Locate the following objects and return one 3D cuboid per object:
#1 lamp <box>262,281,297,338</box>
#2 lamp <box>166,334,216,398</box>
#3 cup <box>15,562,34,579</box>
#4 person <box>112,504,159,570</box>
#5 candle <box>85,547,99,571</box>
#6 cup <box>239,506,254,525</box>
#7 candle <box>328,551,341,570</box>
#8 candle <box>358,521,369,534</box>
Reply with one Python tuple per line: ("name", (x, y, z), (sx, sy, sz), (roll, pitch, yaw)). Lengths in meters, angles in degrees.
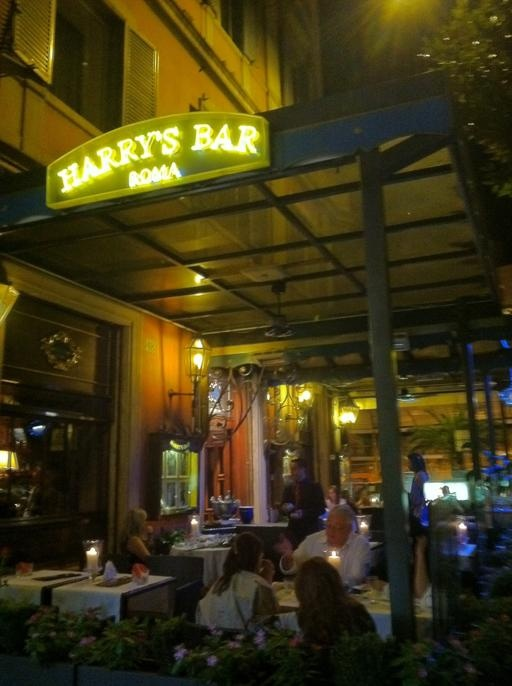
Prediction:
("lamp", (0.290, -0.438, 7.230), (0.399, 0.724, 0.477), (-8, -16, 31))
("lamp", (-0.939, 0.372, 8.070), (0.550, 0.783, 0.782), (1, -13, -9))
("cup", (-1.757, 1.708, 4.428), (0.122, 0.111, 0.106), (4, -3, -38))
("person", (-1.234, 1.957, 5.841), (0.384, 0.559, 1.818), (2, -12, -12))
("candle", (-1.184, 1.554, 4.195), (0.082, 0.164, 0.128), (4, -14, -18))
("cup", (-0.139, 2.314, 7.808), (0.282, 0.244, 0.273), (0, -3, 0))
("candle", (0.472, 1.335, 3.584), (0.065, 0.120, 0.226), (-3, -13, 11))
("candle", (1.108, 1.887, 5.969), (0.108, 0.175, 0.104), (4, -11, -8))
